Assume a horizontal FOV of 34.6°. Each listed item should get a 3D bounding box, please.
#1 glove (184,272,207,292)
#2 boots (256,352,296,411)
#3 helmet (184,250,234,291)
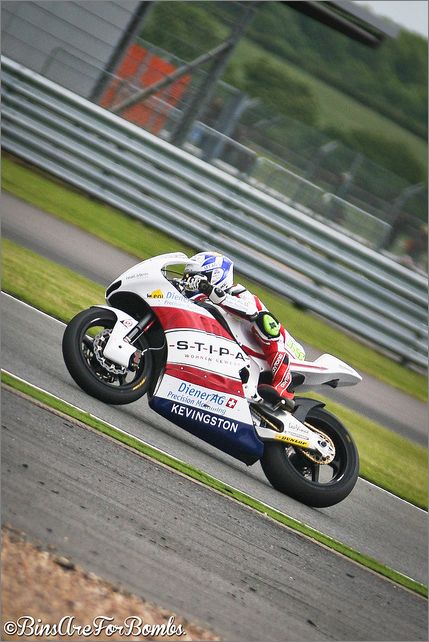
[{"bbox_3d":[-0.113,-0.233,4.261,0.096,0.113,0.123,15,14,-39],"label":"glove"},{"bbox_3d":[0.365,0.381,4.260,0.312,0.126,0.418,28,47,-26],"label":"boots"},{"bbox_3d":[-0.021,-0.324,4.366,0.310,0.213,0.212,17,-4,3],"label":"helmet"}]
